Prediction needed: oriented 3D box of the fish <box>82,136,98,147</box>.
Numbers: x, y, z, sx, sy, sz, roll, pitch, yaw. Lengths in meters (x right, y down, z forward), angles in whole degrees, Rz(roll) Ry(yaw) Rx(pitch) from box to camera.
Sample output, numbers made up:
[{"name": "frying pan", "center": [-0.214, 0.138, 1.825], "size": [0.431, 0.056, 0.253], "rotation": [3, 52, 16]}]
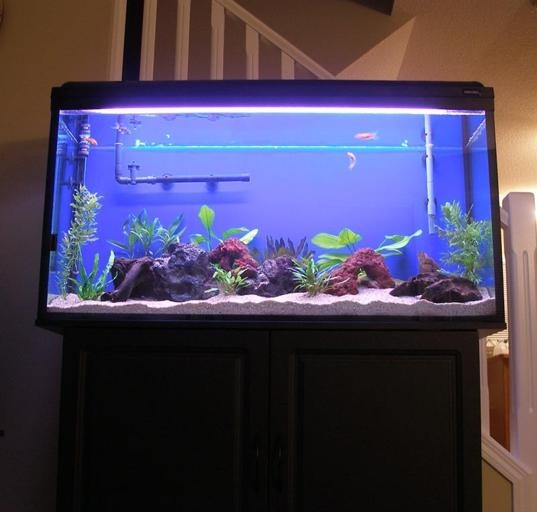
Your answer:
[{"name": "fish", "center": [-0.653, -0.418, 1.941], "size": [0.057, 0.039, 0.009], "rotation": [1, 0, 5]}]
